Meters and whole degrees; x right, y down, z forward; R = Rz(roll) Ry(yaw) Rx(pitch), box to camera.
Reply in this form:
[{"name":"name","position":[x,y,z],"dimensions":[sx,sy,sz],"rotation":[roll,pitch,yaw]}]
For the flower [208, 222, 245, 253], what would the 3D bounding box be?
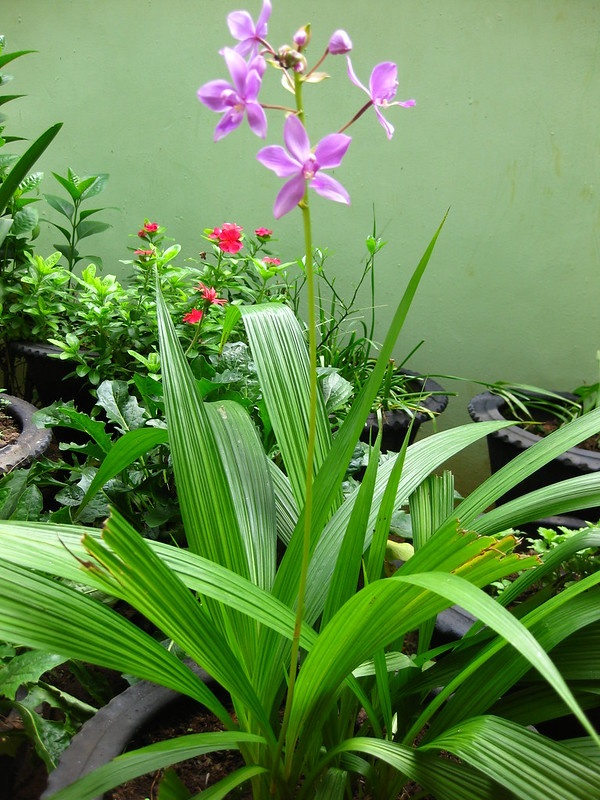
[{"name":"flower","position":[-0.161,-0.352,1.516],"dimensions":[0.079,0.071,0.027],"rotation":[17,-1,5]}]
